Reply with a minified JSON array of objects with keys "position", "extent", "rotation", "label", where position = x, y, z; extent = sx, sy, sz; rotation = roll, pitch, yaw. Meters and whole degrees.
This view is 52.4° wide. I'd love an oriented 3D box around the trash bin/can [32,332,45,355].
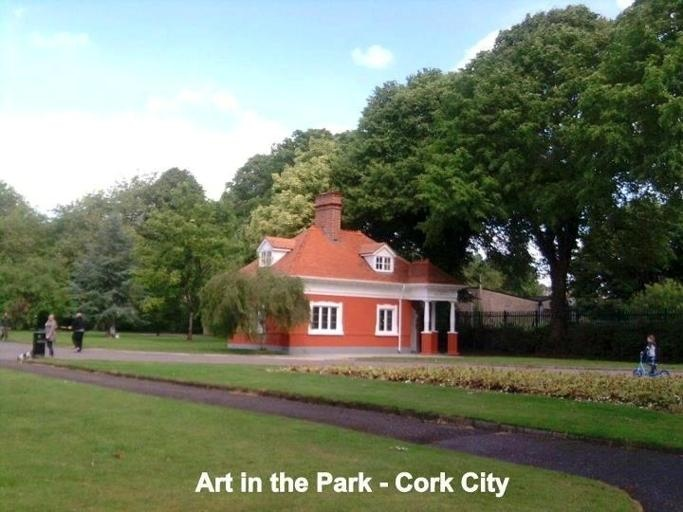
[{"position":[-12.997,3.762,29.775],"extent":[0.461,1.051,0.730],"rotation":[3,-6,-26],"label":"trash bin/can"}]
